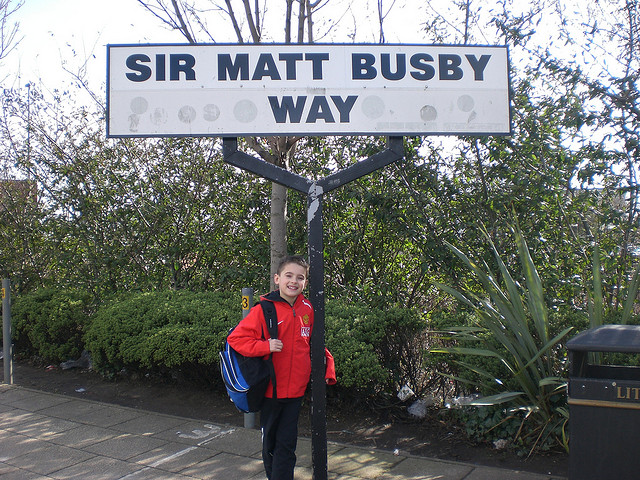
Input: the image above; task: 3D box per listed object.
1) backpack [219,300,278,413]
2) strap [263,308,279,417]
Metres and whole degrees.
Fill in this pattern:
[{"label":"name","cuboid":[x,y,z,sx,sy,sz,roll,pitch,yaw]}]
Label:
[{"label":"backpack","cuboid":[-0.584,0.945,4.353,0.447,0.873,0.573,-1,-7,0]},{"label":"strap","cuboid":[-0.370,0.953,4.178,0.138,0.627,0.320,-1,6,-4]}]
